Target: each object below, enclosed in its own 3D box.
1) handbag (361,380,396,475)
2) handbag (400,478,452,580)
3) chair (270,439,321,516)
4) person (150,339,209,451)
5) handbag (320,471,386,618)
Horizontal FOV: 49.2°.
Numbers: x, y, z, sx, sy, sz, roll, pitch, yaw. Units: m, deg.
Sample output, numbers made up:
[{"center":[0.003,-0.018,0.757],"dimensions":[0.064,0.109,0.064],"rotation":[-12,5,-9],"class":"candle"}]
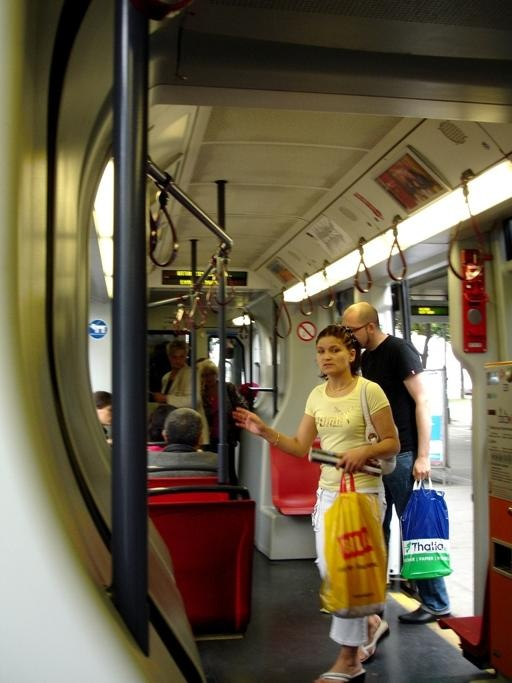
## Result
[{"center":[0.596,0.443,2.870],"dimensions":[0.165,0.413,0.263],"rotation":[-9,-2,-5],"class":"handbag"},{"center":[1.121,1.275,3.726],"dimensions":[0.307,0.553,0.159],"rotation":[-2,-10,11],"class":"handbag"},{"center":[0.433,1.430,5.833],"dimensions":[0.601,0.600,0.616],"rotation":[0,0,25],"class":"chair"},{"center":[-1.025,0.927,6.915],"dimensions":[0.551,1.741,0.660],"rotation":[-4,-3,35],"class":"person"},{"center":[0.467,0.995,2.698],"dimensions":[0.317,0.694,0.248],"rotation":[0,-10,1],"class":"handbag"}]
